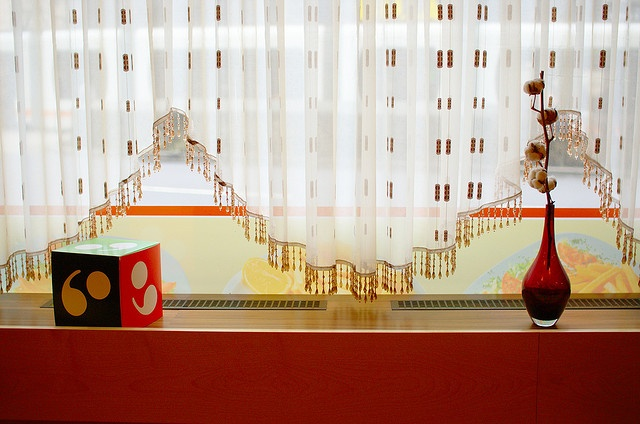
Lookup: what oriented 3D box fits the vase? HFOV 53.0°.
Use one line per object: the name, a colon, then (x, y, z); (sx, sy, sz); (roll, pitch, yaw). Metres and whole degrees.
vase: (0.901, 0.222, 2.549); (0.196, 0.459, 0.189); (-17, -23, 40)
